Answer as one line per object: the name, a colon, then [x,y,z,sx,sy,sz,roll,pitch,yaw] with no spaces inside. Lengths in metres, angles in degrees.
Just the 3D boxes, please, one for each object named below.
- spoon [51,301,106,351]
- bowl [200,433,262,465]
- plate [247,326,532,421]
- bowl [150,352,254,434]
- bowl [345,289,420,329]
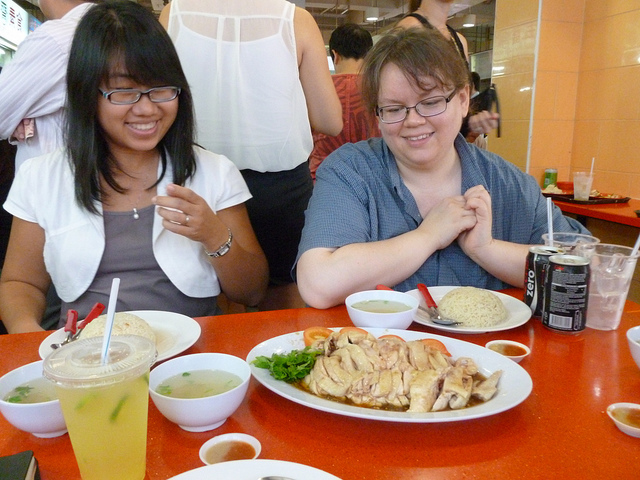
spoon: [-0.791,0.278,1.552,0.070,0.042,0.237,15,54,34]
bowl: [-0.220,0.517,1.170,0.149,0.037,0.092,-5,15,-11]
plate: [0.190,0.381,1.419,0.823,0.061,0.492,-1,15,2]
bowl: [-0.323,0.426,1.293,0.264,0.118,0.263,0,9,0]
bowl: [0.238,0.284,1.752,0.253,0.111,0.246,-4,9,1]
